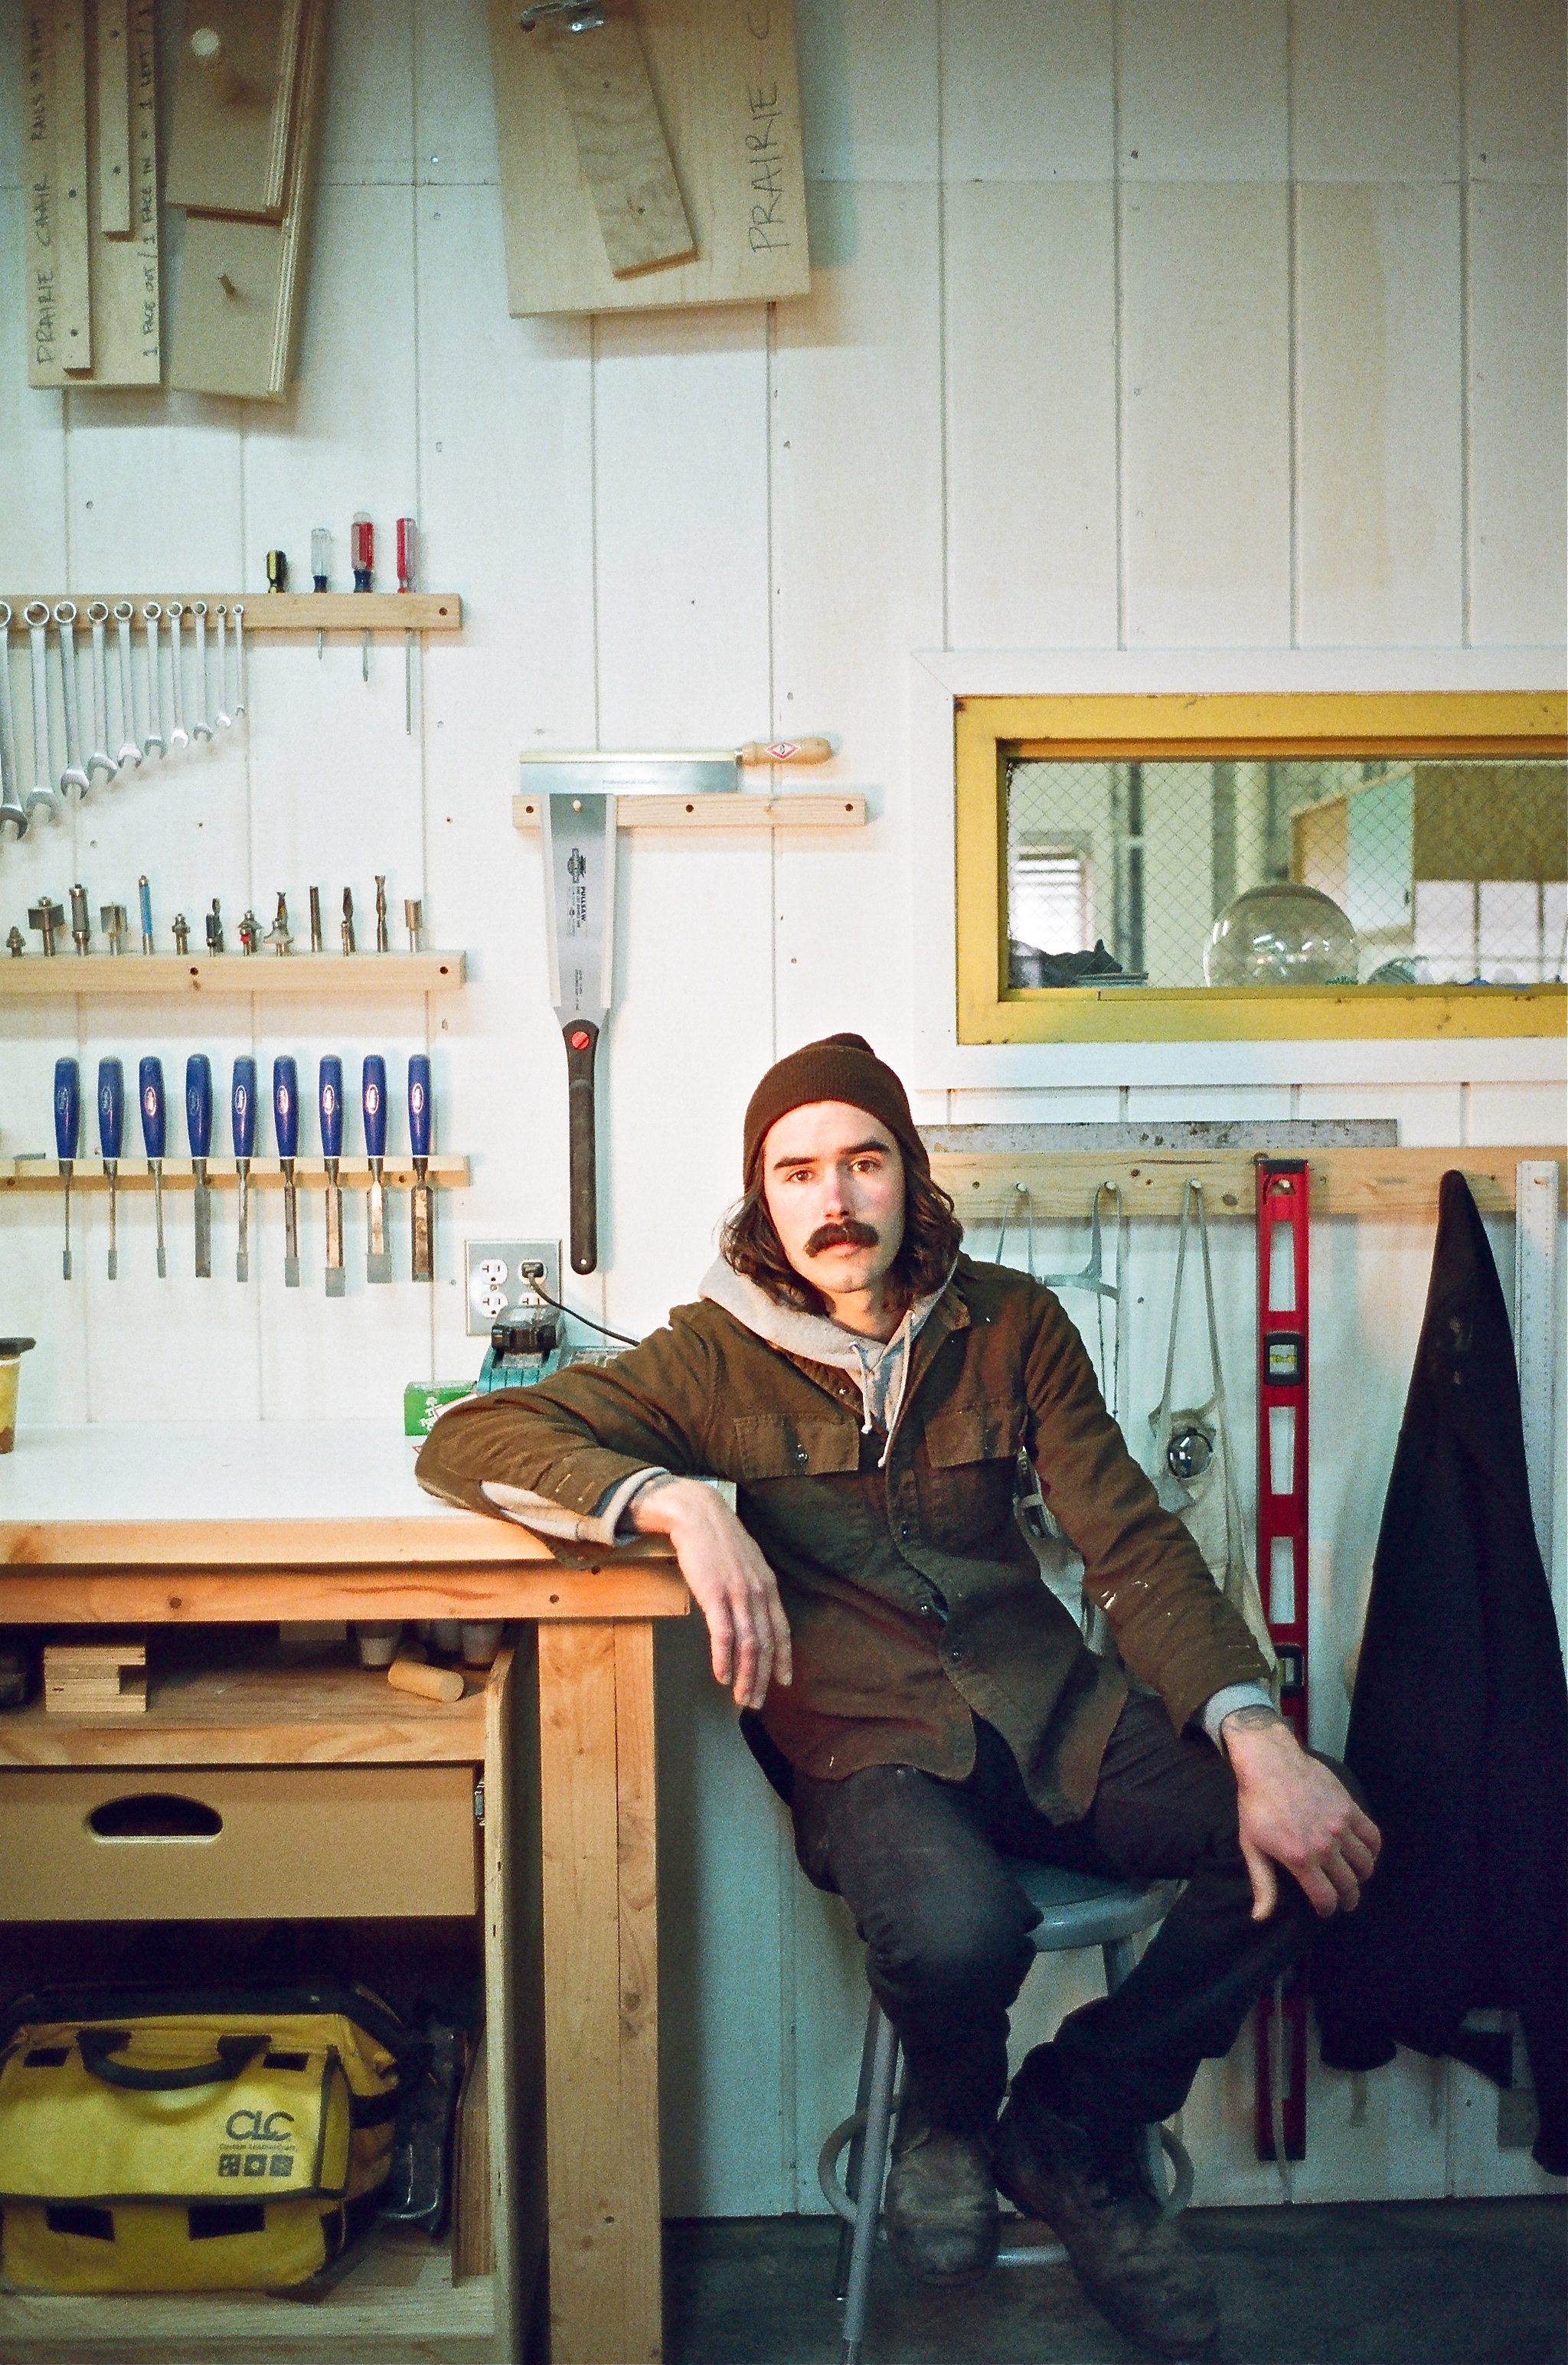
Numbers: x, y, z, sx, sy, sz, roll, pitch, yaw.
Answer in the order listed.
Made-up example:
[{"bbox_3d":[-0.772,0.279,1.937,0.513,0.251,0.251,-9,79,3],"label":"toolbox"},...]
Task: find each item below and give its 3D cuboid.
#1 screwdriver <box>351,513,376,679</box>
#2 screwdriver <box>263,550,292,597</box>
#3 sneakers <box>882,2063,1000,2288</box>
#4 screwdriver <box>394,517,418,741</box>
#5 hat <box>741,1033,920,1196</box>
[{"bbox_3d":[-0.476,-0.673,2.642,0.029,0.181,0.052,-1,2,-14],"label":"screwdriver"},{"bbox_3d":[-0.575,-0.699,2.642,0.029,0.063,0.049,-1,2,-13],"label":"screwdriver"},{"bbox_3d":[0.140,0.888,2.092,0.098,0.150,0.119,-1,2,2],"label":"sneakers"},{"bbox_3d":[-0.433,-0.639,2.654,0.027,0.246,0.029,0,2,18],"label":"screwdriver"},{"bbox_3d":[0.047,-0.084,2.277,0.141,0.161,0.160,4,6,3],"label":"hat"}]
